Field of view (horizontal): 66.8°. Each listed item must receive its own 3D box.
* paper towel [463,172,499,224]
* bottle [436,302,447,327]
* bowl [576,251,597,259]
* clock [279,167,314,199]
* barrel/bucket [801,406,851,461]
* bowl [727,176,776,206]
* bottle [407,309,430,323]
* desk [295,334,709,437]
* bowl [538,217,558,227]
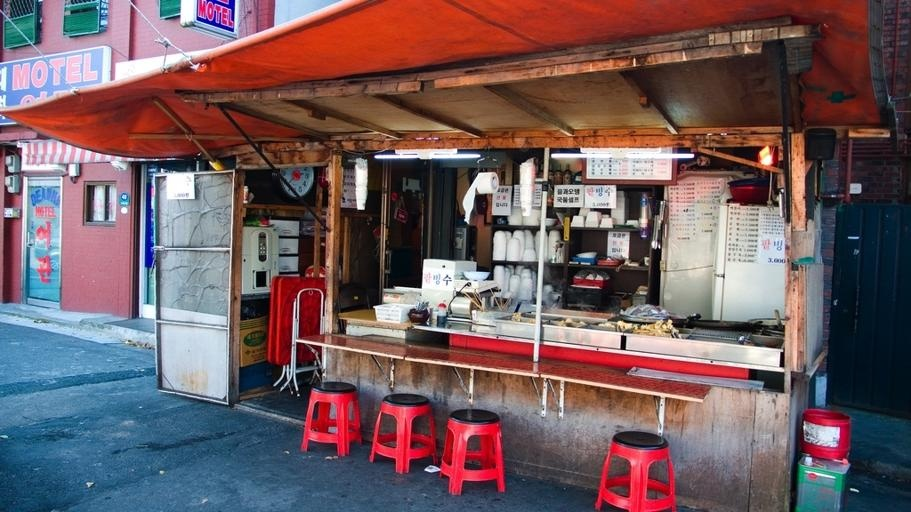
[{"bbox_3d":[0.339,-0.828,9.414,0.395,0.700,0.690,2,2,4],"label":"paper towel"},{"bbox_3d":[-0.189,0.799,9.520,0.137,0.290,0.292,2,2,0],"label":"bottle"},{"bbox_3d":[2.223,-0.043,11.764,0.321,0.089,0.313,1,2,0],"label":"bowl"},{"bbox_3d":[-2.708,-1.271,11.684,0.817,0.671,0.227,0,1,-20],"label":"clock"},{"bbox_3d":[4.479,2.170,8.422,0.513,0.520,0.298,2,2,16],"label":"barrel/bucket"},{"bbox_3d":[4.452,-1.024,10.478,0.556,0.219,0.389,4,3,33],"label":"bowl"},{"bbox_3d":[-0.513,0.815,9.519,0.213,0.116,0.207,0,-1,0],"label":"bottle"},{"bbox_3d":[0.726,0.982,8.800,7.357,0.863,1.015,4,7,28],"label":"desk"},{"bbox_3d":[1.584,-0.597,11.879,0.336,0.101,0.310,0,1,0],"label":"bowl"}]
